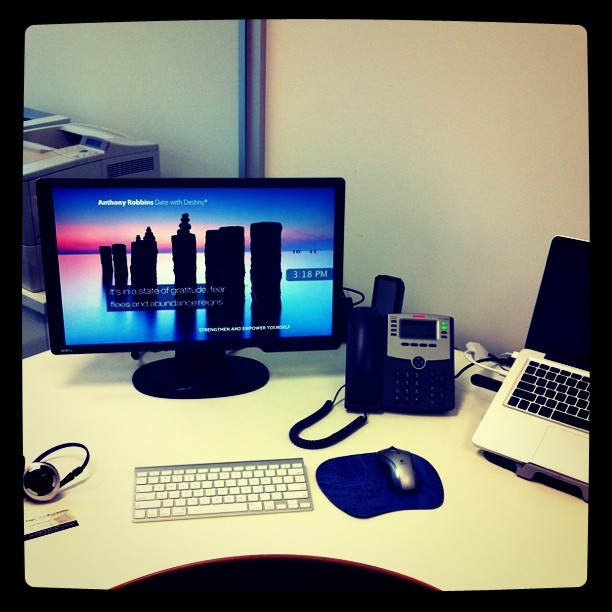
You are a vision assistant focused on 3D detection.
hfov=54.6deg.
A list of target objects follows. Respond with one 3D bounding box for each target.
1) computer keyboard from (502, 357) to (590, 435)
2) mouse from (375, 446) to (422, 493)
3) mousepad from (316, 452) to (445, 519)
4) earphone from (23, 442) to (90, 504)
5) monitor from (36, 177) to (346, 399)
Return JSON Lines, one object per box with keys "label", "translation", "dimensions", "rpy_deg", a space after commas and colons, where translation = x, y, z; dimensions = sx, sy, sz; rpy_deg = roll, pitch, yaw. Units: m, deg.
{"label": "computer keyboard", "translation": [0.399, 0.153, 0.981], "dimensions": [0.126, 0.127, 0.128], "rpy_deg": [1, 17, -6]}
{"label": "mouse", "translation": [0.141, 0.243, 0.921], "dimensions": [0.049, 0.037, 0.107], "rpy_deg": [0, 11, -9]}
{"label": "mousepad", "translation": [0.112, 0.262, 0.897], "dimensions": [0.191, 0.029, 0.149], "rpy_deg": [-3, 13, -11]}
{"label": "earphone", "translation": [-0.372, 0.233, 0.877], "dimensions": [0.095, 0.052, 0.133], "rpy_deg": [7, 9, 15]}
{"label": "monitor", "translation": [-0.210, -0.041, 1.092], "dimensions": [0.274, 0.277, 0.051], "rpy_deg": [-2, 41, -7]}
